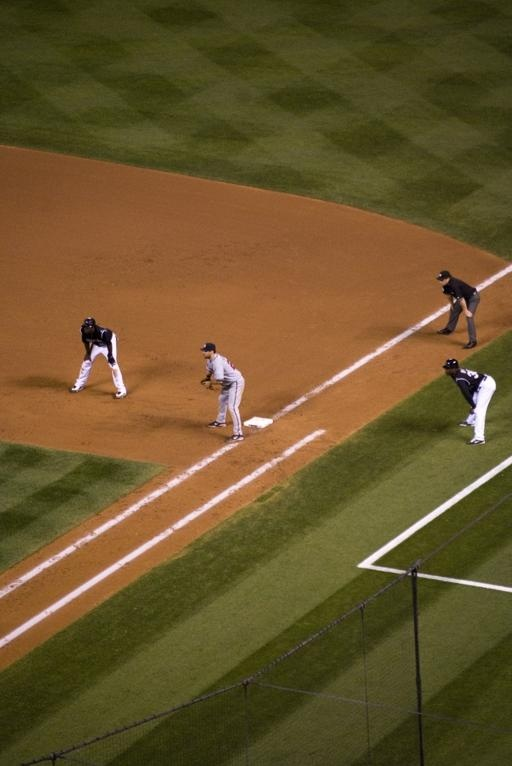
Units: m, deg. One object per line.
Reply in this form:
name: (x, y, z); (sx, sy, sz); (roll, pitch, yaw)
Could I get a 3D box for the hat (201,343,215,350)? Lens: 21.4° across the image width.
hat: (-0.763, -0.537, 20.653); (0.190, 0.103, 0.131); (11, 22, 19)

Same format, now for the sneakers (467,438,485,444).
sneakers: (3.385, 0.909, 20.660); (0.252, 0.105, 0.083); (0, 50, 0)

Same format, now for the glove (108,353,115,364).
glove: (-2.451, -0.389, 22.767); (0.104, 0.196, 0.154); (-9, 14, -6)

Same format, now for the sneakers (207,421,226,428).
sneakers: (-0.644, 0.676, 22.053); (0.306, 0.128, 0.105); (3, 36, 7)

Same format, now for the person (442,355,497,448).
person: (3.282, 0.260, 20.536); (0.821, 1.203, 0.752); (-1, 14, 12)

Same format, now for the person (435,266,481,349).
person: (3.648, -1.384, 24.377); (0.739, 1.503, 1.610); (-6, 13, 7)

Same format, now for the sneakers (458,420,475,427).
sneakers: (3.352, 0.649, 21.386); (0.209, 0.086, 0.087); (1, 11, 17)

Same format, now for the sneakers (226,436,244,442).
sneakers: (-0.326, 0.896, 21.527); (0.238, 0.092, 0.103); (-1, 35, 2)

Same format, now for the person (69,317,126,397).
person: (-2.679, -0.486, 22.972); (0.962, 1.426, 0.722); (7, 25, 19)
